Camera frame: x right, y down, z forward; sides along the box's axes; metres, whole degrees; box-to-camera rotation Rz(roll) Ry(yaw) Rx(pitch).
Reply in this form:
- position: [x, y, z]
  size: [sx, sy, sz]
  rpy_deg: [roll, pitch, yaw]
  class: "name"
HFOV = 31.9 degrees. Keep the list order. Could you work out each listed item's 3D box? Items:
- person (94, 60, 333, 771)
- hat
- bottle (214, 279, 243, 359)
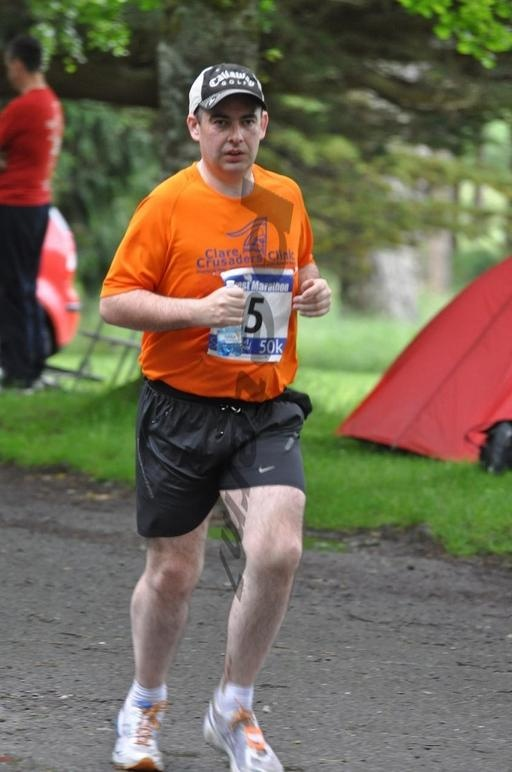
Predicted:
- position: [-0.102, 0.086, 1.888]
  size: [0.478, 1.512, 0.430]
  rpy_deg: [3, 6, 2]
  class: "person"
- position: [-0.076, -0.607, 1.875]
  size: [0.115, 0.069, 0.148]
  rpy_deg: [-5, -2, -13]
  class: "hat"
- position: [-0.058, -0.135, 1.769]
  size: [0.057, 0.170, 0.139]
  rpy_deg: [3, 6, -3]
  class: "bottle"
